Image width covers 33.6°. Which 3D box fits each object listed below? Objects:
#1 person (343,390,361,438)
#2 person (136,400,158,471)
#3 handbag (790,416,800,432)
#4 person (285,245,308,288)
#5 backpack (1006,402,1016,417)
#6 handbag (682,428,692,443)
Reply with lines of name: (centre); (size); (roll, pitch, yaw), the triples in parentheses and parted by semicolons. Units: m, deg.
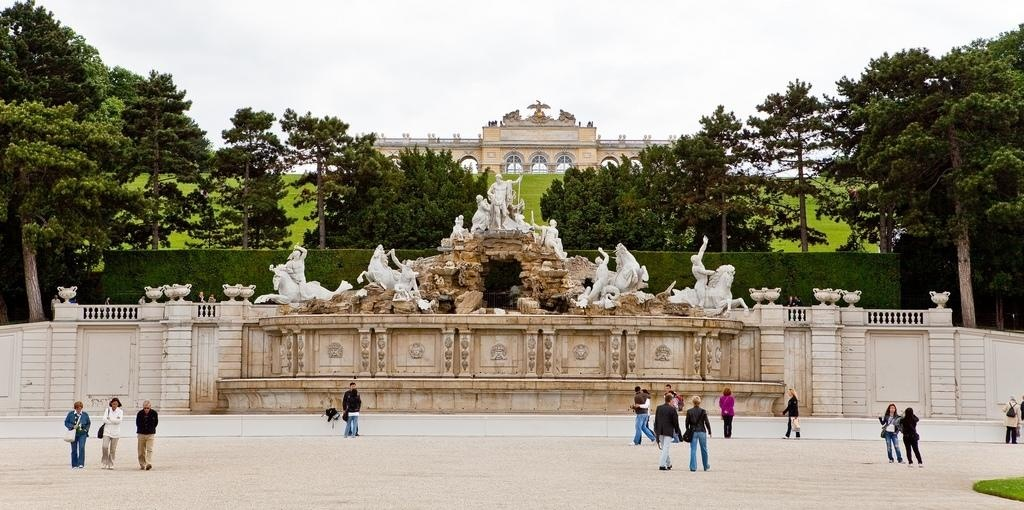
person: (-8.796, 8.449, 92.156); (0.818, 2.777, 1.040); (-1, -8, -6)
person: (-18.443, 9.087, 85.651); (0.935, 3.316, 0.971); (0, -8, -11)
handbag: (15.341, 9.215, 92.676); (0.470, 0.817, 0.578); (-3, -8, 9)
person: (-13.379, 0.610, 104.518); (1.186, 2.491, 0.975); (-1, -8, -3)
backpack: (27.097, 8.393, 92.620); (0.477, 0.823, 0.535); (4, -9, -37)
handbag: (8.734, 8.962, 85.018); (0.565, 0.605, 0.247); (4, -10, 29)
